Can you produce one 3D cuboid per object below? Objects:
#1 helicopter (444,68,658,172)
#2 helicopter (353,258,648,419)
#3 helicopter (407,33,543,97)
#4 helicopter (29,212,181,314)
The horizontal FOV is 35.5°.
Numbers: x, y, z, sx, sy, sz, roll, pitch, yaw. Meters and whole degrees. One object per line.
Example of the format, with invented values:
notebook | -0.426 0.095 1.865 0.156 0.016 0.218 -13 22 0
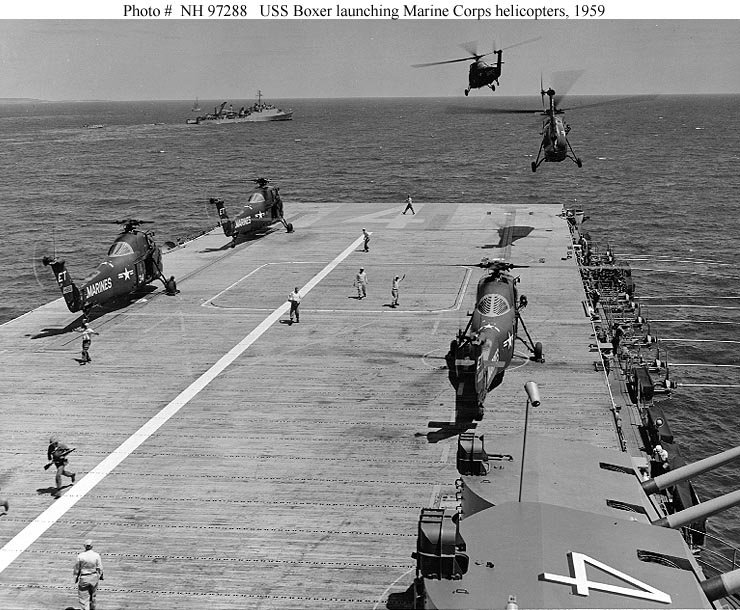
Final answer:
helicopter | 12.104 -11.084 74.558 11.352 3.700 11.915 4 -3 14
helicopter | 5.763 0.875 54.905 15.100 4.620 17.198 -4 21 11
helicopter | 8.325 -17.064 83.647 9.600 2.690 8.946 -11 13 -8
helicopter | -14.524 -2.022 64.643 6.132 4.058 12.381 1 15 13
